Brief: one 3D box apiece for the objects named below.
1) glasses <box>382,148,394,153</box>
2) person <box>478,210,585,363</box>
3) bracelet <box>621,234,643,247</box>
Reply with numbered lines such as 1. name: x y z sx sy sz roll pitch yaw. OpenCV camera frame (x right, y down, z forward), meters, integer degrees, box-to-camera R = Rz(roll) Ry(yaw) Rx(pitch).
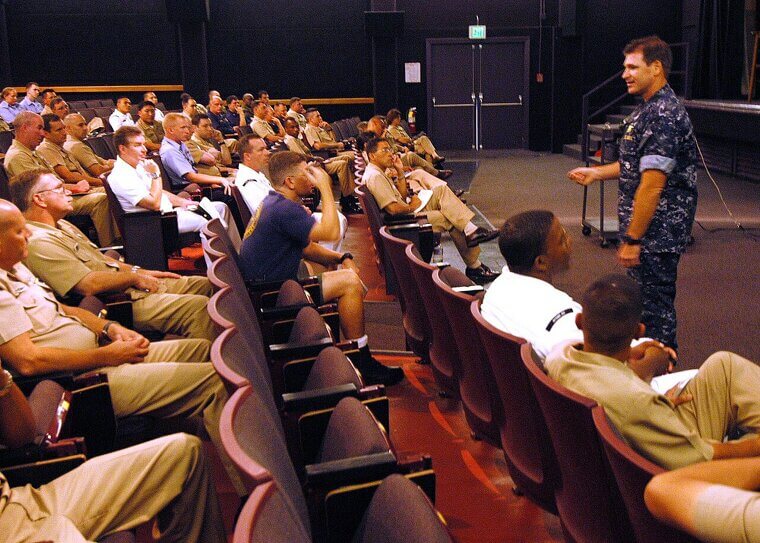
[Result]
1. glasses: 0.066 -1.117 5.251 0.061 0.032 0.084 3 15 0
2. person: 0.648 0.062 2.454 0.370 0.506 0.707 -14 23 -8
3. bracelet: 1.282 -0.161 2.911 0.067 0.050 0.053 11 16 43
